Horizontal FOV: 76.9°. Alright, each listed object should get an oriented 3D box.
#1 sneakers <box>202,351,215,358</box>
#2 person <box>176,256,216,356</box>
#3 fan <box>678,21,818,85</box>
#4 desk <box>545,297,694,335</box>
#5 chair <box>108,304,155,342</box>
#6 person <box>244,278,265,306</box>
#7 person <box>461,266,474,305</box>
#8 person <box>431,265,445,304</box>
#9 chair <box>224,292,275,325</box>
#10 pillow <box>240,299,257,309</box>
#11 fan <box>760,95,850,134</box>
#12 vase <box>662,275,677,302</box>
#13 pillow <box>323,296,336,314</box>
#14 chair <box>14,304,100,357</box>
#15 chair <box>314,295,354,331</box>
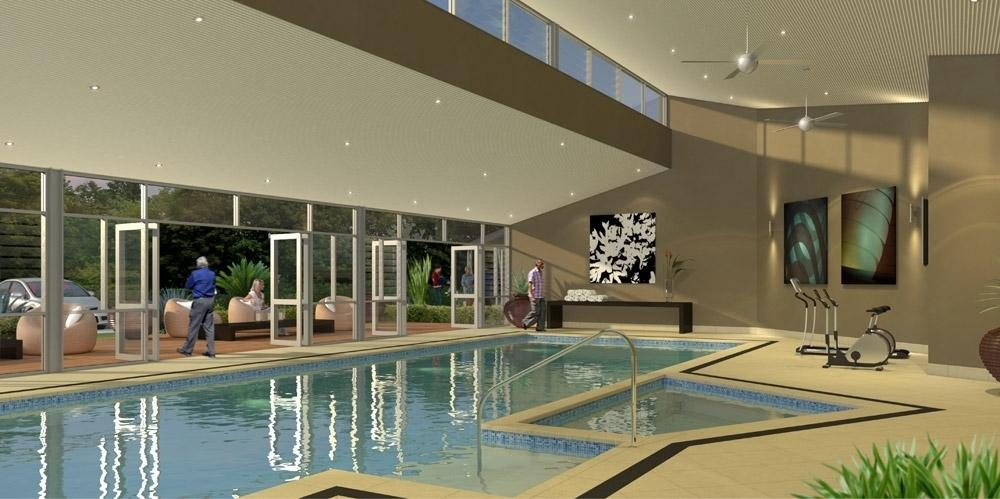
[{"bbox_3d":[-6.646,2.392,14.522,0.396,0.144,0.132,3,2,36],"label":"sneakers"},{"bbox_3d":[-7.030,1.329,14.765,0.752,2.344,1.254,1,-10,-25],"label":"person"},{"bbox_3d":[4.801,-3.888,12.357,2.370,0.783,2.170,-6,4,-28],"label":"fan"},{"bbox_3d":[3.824,2.061,20.460,4.519,0.850,0.777,-1,5,19],"label":"desk"},{"bbox_3d":[-8.002,1.588,13.826,0.909,0.559,0.867,2,-6,-23],"label":"chair"},{"bbox_3d":[-7.196,1.307,18.625,0.441,0.850,1.084,2,-10,-29],"label":"person"},{"bbox_3d":[-1.045,0.975,21.132,0.418,0.953,0.178,-3,-9,-1],"label":"person"},{"bbox_3d":[-2.077,1.188,21.836,0.493,1.328,0.528,-4,-9,5],"label":"person"},{"bbox_3d":[-7.374,1.733,18.580,1.041,0.774,0.999,-2,-1,-17],"label":"chair"},{"bbox_3d":[-7.411,1.599,18.802,0.390,0.133,0.355,6,2,10],"label":"pillow"},{"bbox_3d":[8.018,-3.349,16.640,1.844,0.605,1.750,3,-11,25],"label":"fan"},{"bbox_3d":[5.380,1.225,20.017,0.316,0.735,0.262,-10,-11,33],"label":"vase"},{"bbox_3d":[-4.542,1.469,17.004,0.099,0.391,0.402,-10,-11,34],"label":"pillow"},{"bbox_3d":[-9.637,1.743,13.769,1.578,1.054,1.495,6,1,-31],"label":"chair"},{"bbox_3d":[-4.430,1.762,17.357,1.244,0.730,1.142,8,3,-27],"label":"chair"}]
